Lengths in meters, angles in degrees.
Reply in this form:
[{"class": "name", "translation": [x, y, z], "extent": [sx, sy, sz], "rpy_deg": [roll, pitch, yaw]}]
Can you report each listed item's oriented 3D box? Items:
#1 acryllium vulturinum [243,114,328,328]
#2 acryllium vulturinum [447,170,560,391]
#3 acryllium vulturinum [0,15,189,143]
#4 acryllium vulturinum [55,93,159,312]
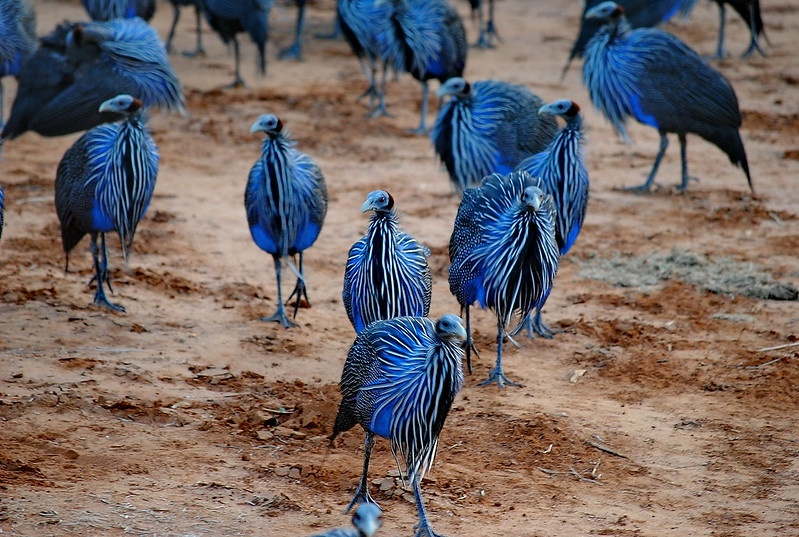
[{"class": "acryllium vulturinum", "translation": [-1.429, -0.596, 17.973], "extent": [0.998, 2.666, 0.493], "rpy_deg": [3, 17, -5]}, {"class": "acryllium vulturinum", "translation": [1.122, 0.122, 17.206], "extent": [1.215, 2.531, 0.883], "rpy_deg": [18, 21, 38]}, {"class": "acryllium vulturinum", "translation": [-4.187, -2.662, 19.248], "extent": [2.649, 1.470, 1.279], "rpy_deg": [-21, 24, -1]}, {"class": "acryllium vulturinum", "translation": [-3.639, -0.814, 17.856], "extent": [1.169, 2.640, 0.566], "rpy_deg": [8, 17, 12]}]
